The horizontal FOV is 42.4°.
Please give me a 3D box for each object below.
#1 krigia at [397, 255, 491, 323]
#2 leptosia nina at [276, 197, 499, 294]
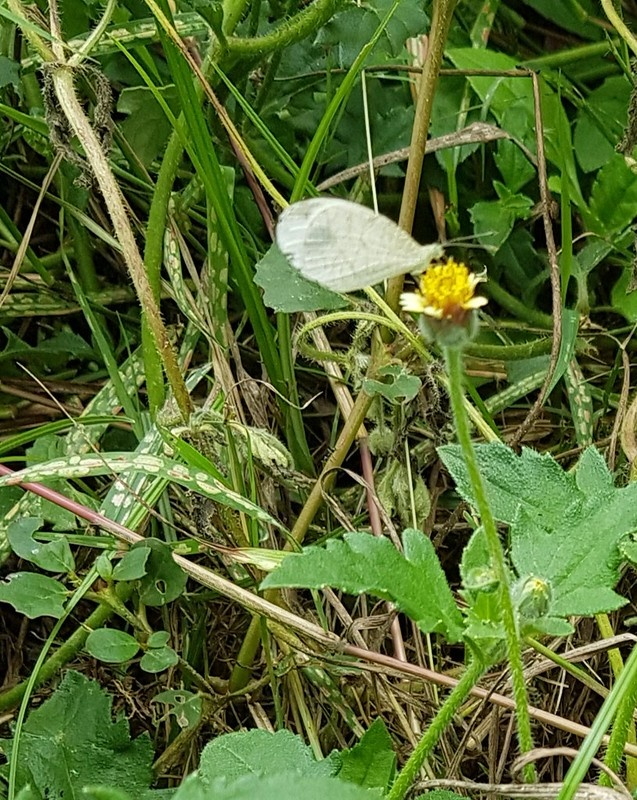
[{"bbox_3d":[0.133,-0.116,0.853,0.056,0.123,0.060,-10,29,-33],"label":"krigia"},{"bbox_3d":[0.050,-0.277,1.461,0.366,0.203,0.223,1,104,3],"label":"leptosia nina"}]
